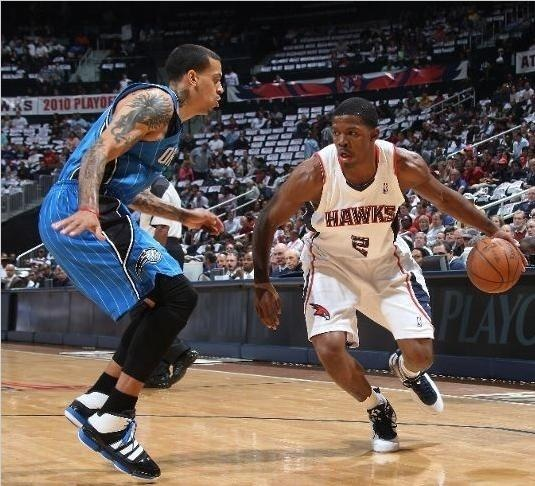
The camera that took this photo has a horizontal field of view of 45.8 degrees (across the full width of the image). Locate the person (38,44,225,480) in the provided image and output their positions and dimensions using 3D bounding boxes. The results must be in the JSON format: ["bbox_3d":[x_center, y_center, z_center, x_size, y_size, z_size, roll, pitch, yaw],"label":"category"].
[{"bbox_3d":[-0.543,0.034,2.530,0.711,1.824,0.858,0,4,-2],"label":"person"}]

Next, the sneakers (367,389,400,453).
[{"bbox_3d":[0.531,0.830,2.918,0.118,0.178,0.298,-22,6,13],"label":"sneakers"}]

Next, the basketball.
[{"bbox_3d":[1.141,0.165,3.393,0.352,0.290,0.296,-3,8,2],"label":"basketball"}]

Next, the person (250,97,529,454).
[{"bbox_3d":[0.482,0.142,3.066,0.745,1.689,0.797,3,5,37],"label":"person"}]
